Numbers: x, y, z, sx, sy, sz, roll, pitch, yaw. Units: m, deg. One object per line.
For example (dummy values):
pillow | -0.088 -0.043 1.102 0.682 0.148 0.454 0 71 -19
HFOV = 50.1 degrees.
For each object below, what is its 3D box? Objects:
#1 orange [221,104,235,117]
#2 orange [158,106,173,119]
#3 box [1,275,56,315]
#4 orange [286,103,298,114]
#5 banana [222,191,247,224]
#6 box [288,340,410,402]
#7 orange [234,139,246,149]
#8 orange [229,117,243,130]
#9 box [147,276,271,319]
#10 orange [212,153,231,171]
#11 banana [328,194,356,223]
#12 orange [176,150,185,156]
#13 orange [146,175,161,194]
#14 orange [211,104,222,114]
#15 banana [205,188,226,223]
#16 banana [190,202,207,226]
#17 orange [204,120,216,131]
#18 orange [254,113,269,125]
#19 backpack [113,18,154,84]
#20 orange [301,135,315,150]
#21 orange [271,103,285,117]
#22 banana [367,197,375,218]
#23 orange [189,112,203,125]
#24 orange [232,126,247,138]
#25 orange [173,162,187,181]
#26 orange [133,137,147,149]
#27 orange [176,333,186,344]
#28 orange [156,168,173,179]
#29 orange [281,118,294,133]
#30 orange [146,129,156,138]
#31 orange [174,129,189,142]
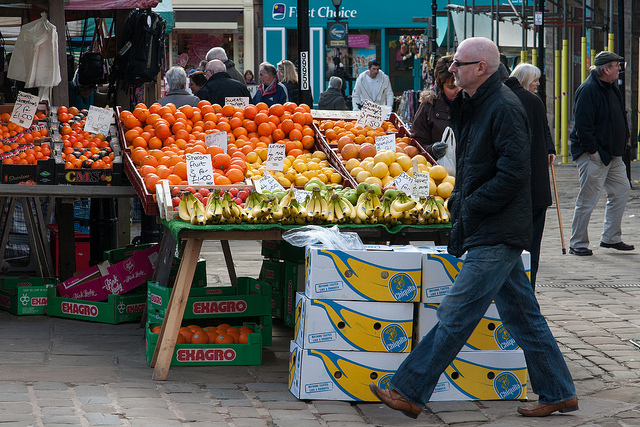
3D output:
orange | -1.082 -1.237 8.163 0.124 0.155 0.130 20 19 13
orange | -1.765 -1.151 7.879 0.108 0.134 0.108 -14 16 -30
box | -3.320 0.934 7.827 0.611 0.340 0.524 -4 12 -20
orange | -0.334 -1.257 8.221 0.105 0.134 0.109 -2 -4 -7
banana | -0.741 -0.046 6.007 0.072 0.226 0.146 -27 26 3
box | 0.185 1.296 5.574 0.645 0.305 0.507 2 -1 -5
orange | -0.889 -0.776 7.686 0.086 0.055 0.091 1 9 17
orange | -0.960 -1.040 7.973 0.125 0.165 0.133 1 9 3
box | -1.071 0.810 6.820 1.196 0.395 0.554 -4 12 -20
orange | -1.035 -0.540 7.234 0.160 0.205 0.164 0 0 4
banana | 0.185 -0.043 6.055 0.185 0.275 0.094 -9 -23 1
orange | -1.479 -0.640 7.308 0.055 0.045 0.059 -1 3 3
orange | -1.623 -0.290 6.730 0.137 0.177 0.147 -1 27 21
orange | -1.210 -1.250 8.212 0.085 0.093 0.116 -3 6 -12
banana | -0.870 -0.054 5.931 0.202 0.341 0.118 -28 -41 25
banana | -1.043 0.001 5.873 0.160 0.086 0.255 -9 42 -26
orange | -1.251 -1.001 7.867 0.129 0.106 0.105 -2 11 -11
orange | -0.674 -1.094 8.011 0.144 0.133 0.123 -2 8 -34
backpack | -2.775 -2.395 10.124 0.741 0.910 0.395 7 13 35
orange | -0.130 -0.819 7.924 0.140 0.180 0.149 2 4 3
orange | -0.494 -1.219 8.155 0.127 0.168 0.142 0 -7 -3
banana | 0.451 -0.050 6.107 0.041 0.058 0.174 12 46 -17
orange | -1.425 -1.108 7.961 0.119 0.128 0.153 -4 39 -4
orange | -0.908 -0.935 7.903 0.139 0.130 0.122 -2 -15 21
orange | -1.412 -0.423 6.939 0.128 0.165 0.105 -5 11 -23
orange | -1.978 -0.777 7.586 0.119 0.125 0.107 -6 4 -44
orange | -1.291 1.157 6.438 0.077 0.099 0.082 0 8 3
orange | -1.550 -0.403 6.872 0.101 0.110 0.126 17 18 20
orange | -0.370 -1.018 7.962 0.124 0.165 0.131 1 -3 15
orange | -1.891 -0.903 7.743 0.075 0.098 0.080 4 14 -3
orange | -1.525 -0.868 7.656 0.111 0.141 0.126 -2 40 -8
